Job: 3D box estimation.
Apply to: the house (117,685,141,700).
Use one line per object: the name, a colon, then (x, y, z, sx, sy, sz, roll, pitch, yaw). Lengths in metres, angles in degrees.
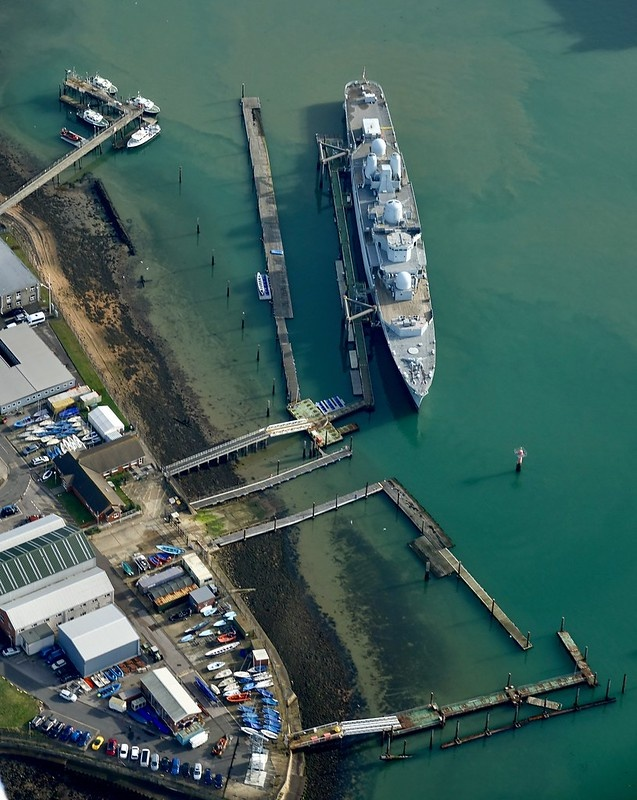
house: (-19.811, 30.985, 165.970, 2.228, 0.573, 1.449, -24, 26, -26)

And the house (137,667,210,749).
house: (-14.896, 32.856, 164.348, 4.154, 3.111, 9.601, -24, 50, -28)

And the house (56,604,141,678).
house: (-24.331, 27.273, 171.339, 6.956, 3.618, 6.779, -23, 49, -33)

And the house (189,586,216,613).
house: (-12.985, 22.687, 176.567, 2.569, 1.510, 2.466, -15, 45, -33)

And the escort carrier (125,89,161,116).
escort carrier: (-28.463, -47.685, 255.263, 4.885, 2.069, 2.632, 39, 71, 8)

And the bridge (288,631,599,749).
bridge: (13.182, 31.869, 169.717, 23.712, 3.067, 3.799, -15, 49, -12)

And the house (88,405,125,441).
house: (-26.812, 3.508, 197.846, 3.091, 1.665, 4.978, -30, 59, -29)

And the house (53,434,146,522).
house: (-25.483, 8.121, 189.635, 9.739, 2.703, 9.433, -23, 55, -28)

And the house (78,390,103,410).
house: (-29.084, -0.092, 200.774, 3.469, 1.578, 1.867, -16, 67, -33)

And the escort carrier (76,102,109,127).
escort carrier: (-35.948, -44.972, 251.973, 2.489, 2.589, 6.321, -26, 27, -28)
